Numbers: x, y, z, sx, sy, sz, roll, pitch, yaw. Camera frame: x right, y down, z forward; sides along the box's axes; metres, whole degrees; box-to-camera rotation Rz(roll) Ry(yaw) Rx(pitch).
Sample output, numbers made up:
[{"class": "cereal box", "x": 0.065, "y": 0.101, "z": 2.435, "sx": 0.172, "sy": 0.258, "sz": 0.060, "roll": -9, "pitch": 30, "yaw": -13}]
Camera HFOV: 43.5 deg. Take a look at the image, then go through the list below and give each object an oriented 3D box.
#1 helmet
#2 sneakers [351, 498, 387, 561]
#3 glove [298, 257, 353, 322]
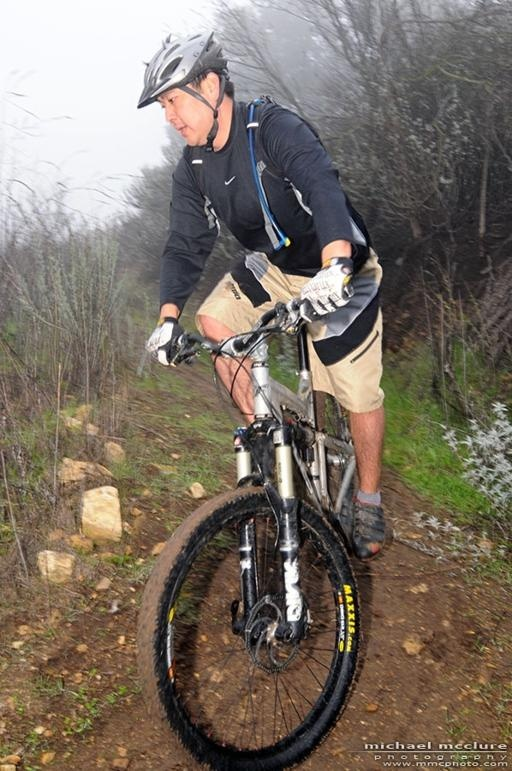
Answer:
[{"class": "helmet", "x": -0.288, "y": -1.245, "z": 2.483, "sx": 0.162, "sy": 0.227, "sz": 0.402, "roll": 2, "pitch": 24, "yaw": 47}, {"class": "sneakers", "x": 0.532, "y": 0.686, "z": 3.016, "sx": 0.114, "sy": 0.126, "sz": 0.324, "roll": -9, "pitch": 38, "yaw": 13}, {"class": "glove", "x": 0.191, "y": -0.299, "z": 1.960, "sx": 0.143, "sy": 0.205, "sz": 0.083, "roll": -8, "pitch": 50, "yaw": 1}]
